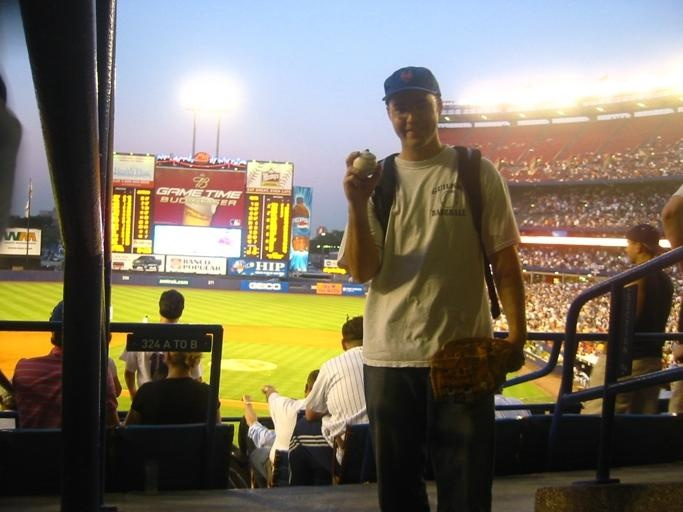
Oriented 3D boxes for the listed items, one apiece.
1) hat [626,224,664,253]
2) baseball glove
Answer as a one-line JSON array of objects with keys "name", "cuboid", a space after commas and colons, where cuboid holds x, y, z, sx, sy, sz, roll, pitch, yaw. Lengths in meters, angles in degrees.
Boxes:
[{"name": "hat", "cuboid": [2.017, -0.158, 4.439, 0.240, 0.133, 0.172, 38, 42, 24]}, {"name": "baseball glove", "cuboid": [0.452, 0.362, 2.249, 0.250, 0.095, 0.185, -29, 33, -22]}]
